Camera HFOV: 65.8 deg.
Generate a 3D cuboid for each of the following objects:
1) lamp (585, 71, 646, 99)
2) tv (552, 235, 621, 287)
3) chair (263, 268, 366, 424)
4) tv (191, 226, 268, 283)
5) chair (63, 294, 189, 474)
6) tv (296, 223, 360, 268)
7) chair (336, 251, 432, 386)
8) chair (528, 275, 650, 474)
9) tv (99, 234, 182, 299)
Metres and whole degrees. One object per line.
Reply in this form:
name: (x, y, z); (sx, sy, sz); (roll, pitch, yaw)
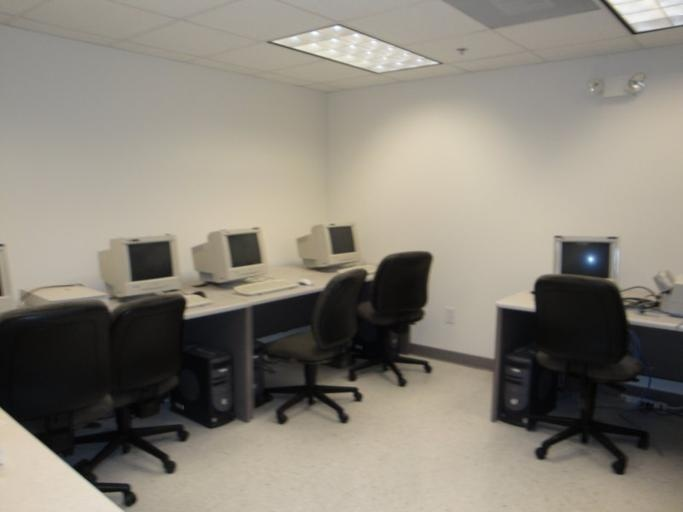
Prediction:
lamp: (2.261, -1.399, 4.340); (0.422, 0.180, 0.086); (8, 15, 32)
tv: (1.869, 0.039, 4.217); (0.554, 0.370, 0.318); (-1, -1, -4)
chair: (-0.249, 0.692, 4.275); (0.834, 1.114, 0.807); (3, 4, 37)
tv: (-0.937, -0.057, 4.619); (0.526, 0.455, 0.511); (7, 11, 30)
chair: (-1.447, 0.815, 3.565); (0.832, 1.076, 0.826); (1, 5, 42)
tv: (-0.125, -0.100, 5.524); (0.574, 0.427, 0.516); (-6, 7, -43)
chair: (0.438, 0.546, 4.967); (0.842, 1.104, 0.808); (-1, 3, -12)
chair: (1.746, 0.759, 3.805); (0.766, 1.315, 0.863); (4, 9, 42)
tv: (-1.602, 0.094, 4.225); (0.523, 0.489, 0.532); (-8, 0, 38)
